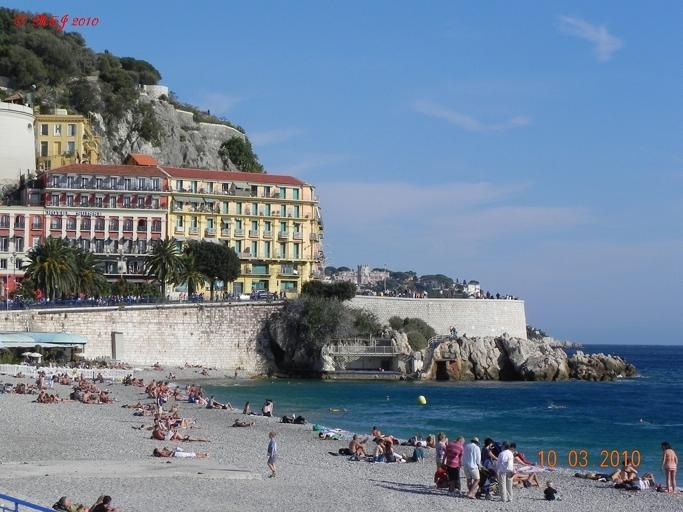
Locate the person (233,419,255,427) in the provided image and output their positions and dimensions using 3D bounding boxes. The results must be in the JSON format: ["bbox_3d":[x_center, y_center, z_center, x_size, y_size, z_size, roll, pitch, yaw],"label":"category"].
[{"bbox_3d":[-8.244,14.148,98.648,1.423,0.731,0.741,2,11,-8],"label":"person"}]

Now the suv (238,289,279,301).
[{"bbox_3d":[-10.041,4.914,144.882,3.819,1.260,1.813,-2,0,-8],"label":"suv"}]

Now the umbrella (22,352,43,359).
[{"bbox_3d":[-30.527,9.751,116.094,1.245,0.504,1.132,2,-14,4],"label":"umbrella"}]

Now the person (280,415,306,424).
[{"bbox_3d":[-4.039,14.239,102.280,1.125,0.523,1.174,-8,-9,41],"label":"person"}]
